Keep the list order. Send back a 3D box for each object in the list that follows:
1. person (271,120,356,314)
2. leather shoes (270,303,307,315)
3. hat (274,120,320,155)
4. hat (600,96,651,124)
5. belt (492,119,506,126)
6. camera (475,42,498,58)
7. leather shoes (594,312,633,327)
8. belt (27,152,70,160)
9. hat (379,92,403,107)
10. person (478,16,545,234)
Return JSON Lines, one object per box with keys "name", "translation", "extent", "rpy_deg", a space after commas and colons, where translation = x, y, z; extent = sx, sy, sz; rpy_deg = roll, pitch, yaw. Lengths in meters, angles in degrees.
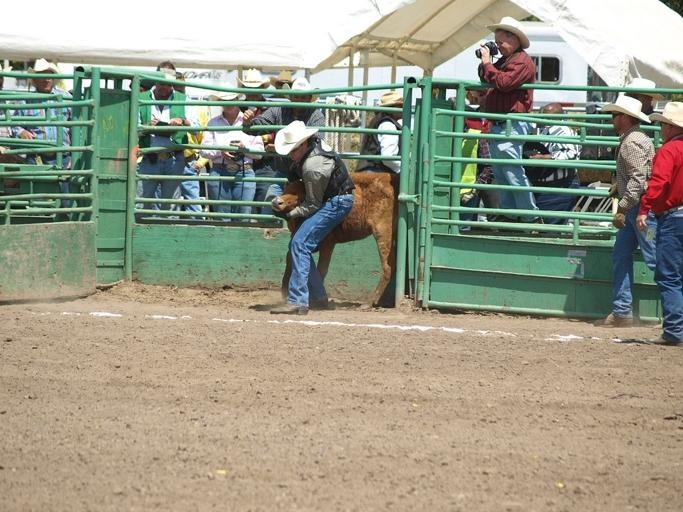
{"name": "person", "translation": [-0.307, -0.392, 8.246], "extent": [0.821, 1.983, 0.401], "rpy_deg": [3, 5, 0]}
{"name": "leather shoes", "translation": [-0.532, 0.551, 8.248], "extent": [0.410, 0.137, 0.134], "rpy_deg": [3, -5, 6]}
{"name": "hat", "translation": [-0.430, -1.179, 8.109], "extent": [0.409, 0.149, 0.345], "rpy_deg": [-40, 35, -20]}
{"name": "hat", "translation": [2.818, -1.471, 7.833], "extent": [0.409, 0.136, 0.377], "rpy_deg": [19, 1, 22]}
{"name": "belt", "translation": [1.779, -1.515, 8.917], "extent": [0.157, 0.075, 0.453], "rpy_deg": [3, 4, 10]}
{"name": "camera", "translation": [1.721, -2.398, 9.117], "extent": [0.267, 0.204, 0.237], "rpy_deg": [-2, 3, -10]}
{"name": "leather shoes", "translation": [2.800, 0.657, 8.108], "extent": [0.385, 0.130, 0.139], "rpy_deg": [1, 1, 10]}
{"name": "belt", "translation": [-3.884, -1.327, 10.424], "extent": [0.356, 0.073, 0.317], "rpy_deg": [0, -1, 19]}
{"name": "hat", "translation": [0.564, -1.785, 8.938], "extent": [0.252, 0.240, 0.505], "rpy_deg": [2, 4, 1]}
{"name": "person", "translation": [1.915, -1.615, 8.994], "extent": [0.823, 2.462, 1.399], "rpy_deg": [4, 5, 13]}
